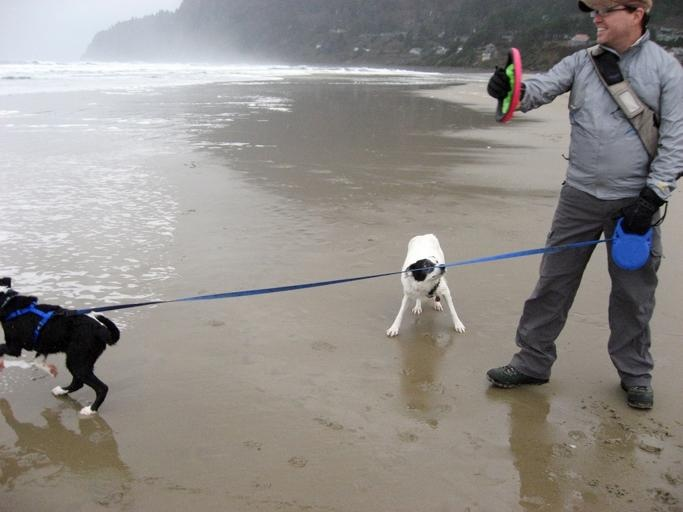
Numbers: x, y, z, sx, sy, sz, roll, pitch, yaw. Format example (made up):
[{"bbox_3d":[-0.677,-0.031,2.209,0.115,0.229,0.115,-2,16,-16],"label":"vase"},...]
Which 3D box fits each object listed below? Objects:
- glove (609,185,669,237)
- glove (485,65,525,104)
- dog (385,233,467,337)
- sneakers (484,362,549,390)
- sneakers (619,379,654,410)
[{"bbox_3d":[2.352,-0.346,4.555,0.417,0.315,0.167,-42,6,10],"label":"glove"},{"bbox_3d":[1.268,-1.400,4.663,0.173,0.274,0.206,-1,20,7],"label":"glove"},{"bbox_3d":[0.944,0.347,6.335,0.843,0.901,1.172,1,19,11],"label":"dog"},{"bbox_3d":[1.655,1.118,5.347,0.617,0.233,0.209,5,11,-2],"label":"sneakers"},{"bbox_3d":[2.535,1.210,4.938,0.134,0.132,0.333,-5,-5,6],"label":"sneakers"}]
